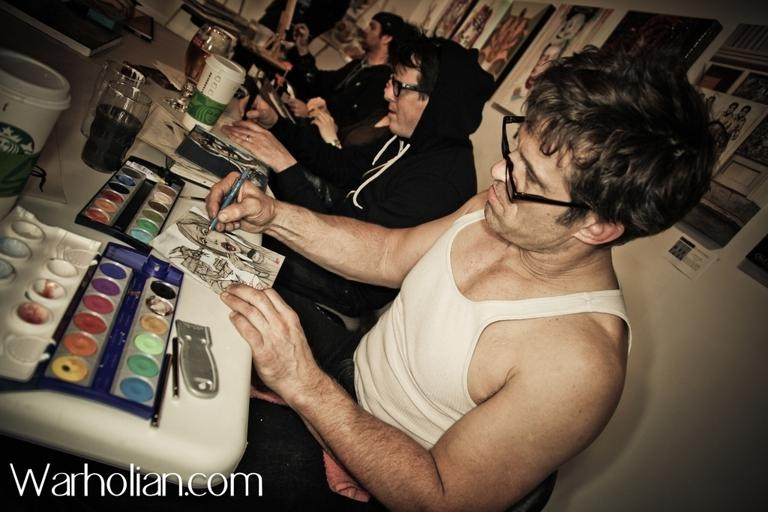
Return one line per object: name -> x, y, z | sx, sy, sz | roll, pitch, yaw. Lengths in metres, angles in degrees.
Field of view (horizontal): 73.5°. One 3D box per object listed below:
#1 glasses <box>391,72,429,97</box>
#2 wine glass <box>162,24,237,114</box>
glasses -> 0.115, -0.731, 2.211 | 0.130, 0.040, 0.122 | 2, 28, -16
wine glass -> -0.779, -0.793, 2.091 | 0.212, 0.298, 0.201 | 24, 8, 19
